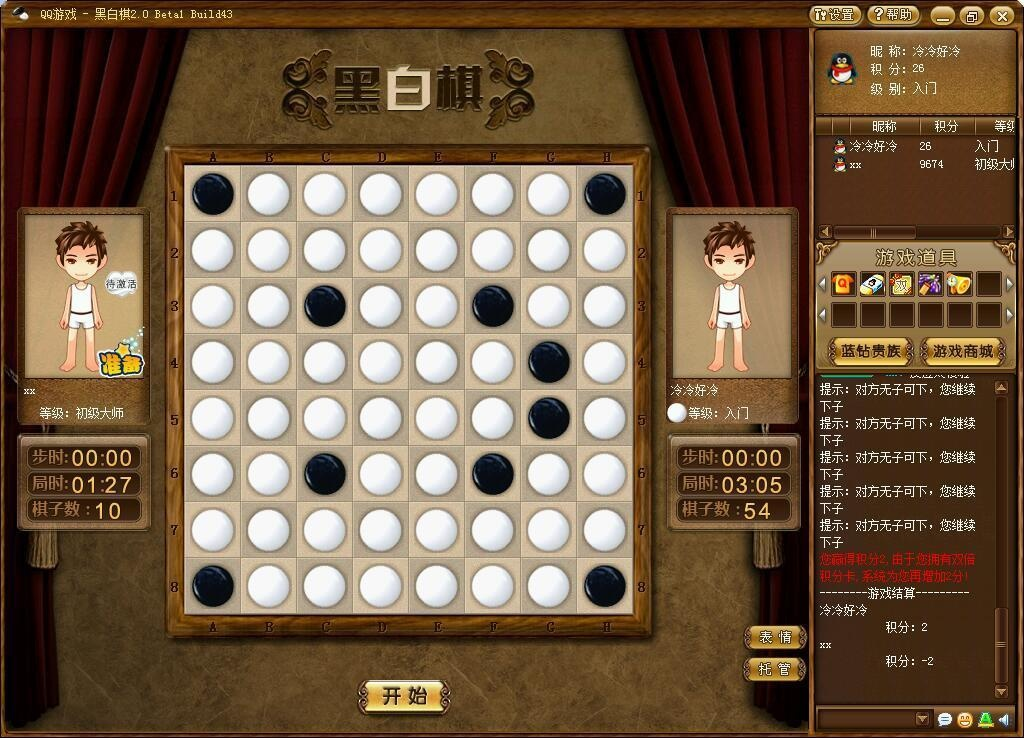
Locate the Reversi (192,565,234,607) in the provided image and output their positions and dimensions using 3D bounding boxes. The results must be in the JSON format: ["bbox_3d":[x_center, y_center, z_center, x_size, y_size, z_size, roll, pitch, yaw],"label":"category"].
[{"bbox_3d":[-1.533,1.112,7.408,0.206,0.210,0.051,3,-4,-13],"label":"Reversi"}]

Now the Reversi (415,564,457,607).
[{"bbox_3d":[-0.381,1.115,7.403,0.211,0.215,0.052,2,-4,-10],"label":"Reversi"}]
